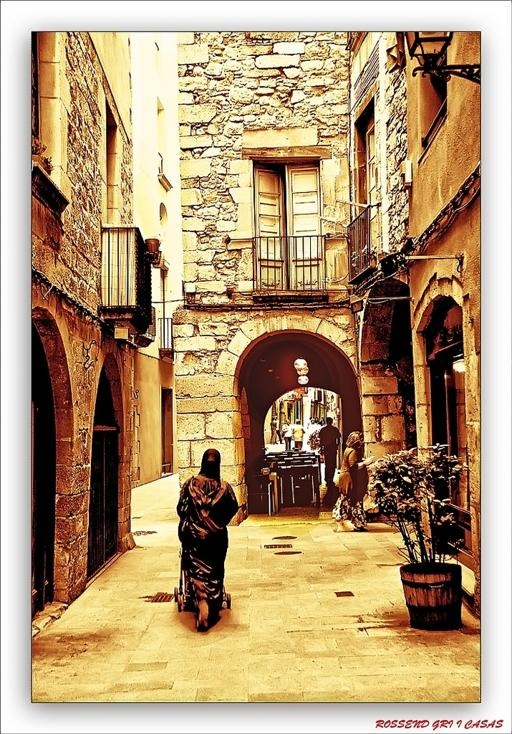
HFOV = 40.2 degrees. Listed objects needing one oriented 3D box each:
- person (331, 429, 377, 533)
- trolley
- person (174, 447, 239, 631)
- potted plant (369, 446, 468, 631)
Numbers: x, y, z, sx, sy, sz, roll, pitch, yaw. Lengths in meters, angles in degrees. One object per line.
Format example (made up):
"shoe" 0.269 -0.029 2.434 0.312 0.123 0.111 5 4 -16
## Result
"person" 1.387 1.588 9.877 0.403 1.558 0.396 6 19 15
"trolley" -0.485 1.671 5.619 0.345 0.637 0.371 10 2 -34
"person" -0.365 1.274 5.270 0.413 1.291 0.440 3 -6 -37
"potted plant" 1.322 1.255 5.453 0.628 1.255 1.941 -3 -7 17
